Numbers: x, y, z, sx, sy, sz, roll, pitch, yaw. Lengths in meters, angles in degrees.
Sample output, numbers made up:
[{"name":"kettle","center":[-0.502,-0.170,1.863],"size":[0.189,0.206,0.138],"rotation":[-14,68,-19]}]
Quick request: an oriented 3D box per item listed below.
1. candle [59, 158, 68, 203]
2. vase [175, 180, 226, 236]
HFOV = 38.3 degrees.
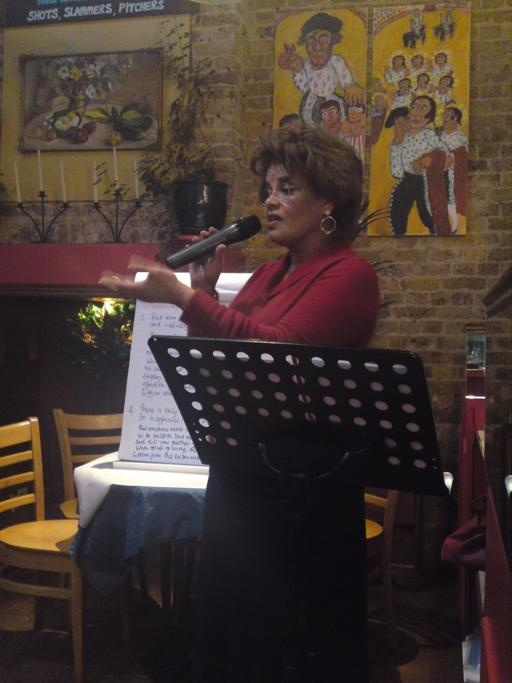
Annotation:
[{"name":"candle","center":[-0.672,-0.550,2.561],"size":[0.021,0.146,0.144],"rotation":[-3,8,-14]},{"name":"vase","center":[-0.162,-0.410,2.140],"size":[0.174,0.164,0.164],"rotation":[-7,31,-16]}]
